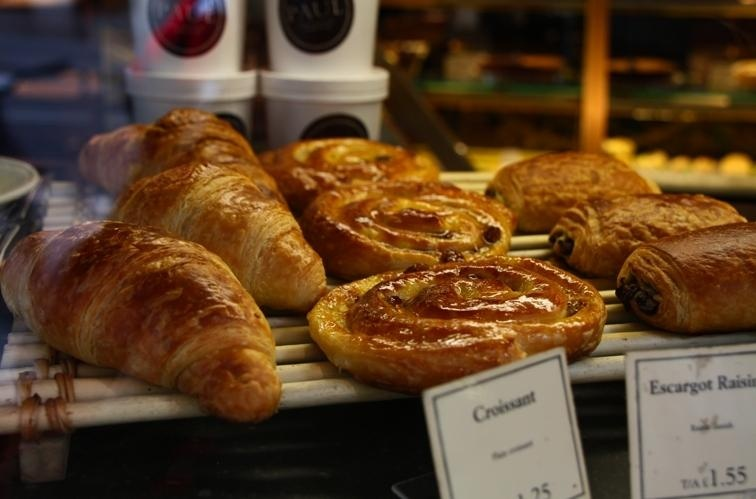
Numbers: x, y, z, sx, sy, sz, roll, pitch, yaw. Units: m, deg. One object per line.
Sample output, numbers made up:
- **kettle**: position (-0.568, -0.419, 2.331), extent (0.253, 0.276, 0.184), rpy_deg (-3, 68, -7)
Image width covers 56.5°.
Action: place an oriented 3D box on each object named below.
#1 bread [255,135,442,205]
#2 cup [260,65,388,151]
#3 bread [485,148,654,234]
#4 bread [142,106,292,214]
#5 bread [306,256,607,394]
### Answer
- **bread**: position (-0.081, -0.190, 1.568), extent (0.234, 0.065, 0.232), rpy_deg (-5, 28, -14)
- **cup**: position (-0.120, -0.326, 1.631), extent (0.234, 0.166, 0.202), rpy_deg (3, 13, 18)
- **bread**: position (0.465, -0.169, 1.650), extent (0.404, 0.146, 0.209), rpy_deg (-5, 19, -1)
- **bread**: position (-0.330, -0.206, 1.460), extent (0.207, 0.143, 0.388), rpy_deg (-5, 27, -44)
- **bread**: position (0.143, 0.111, 1.092), extent (0.305, 0.082, 0.265), rpy_deg (-11, 15, -31)
